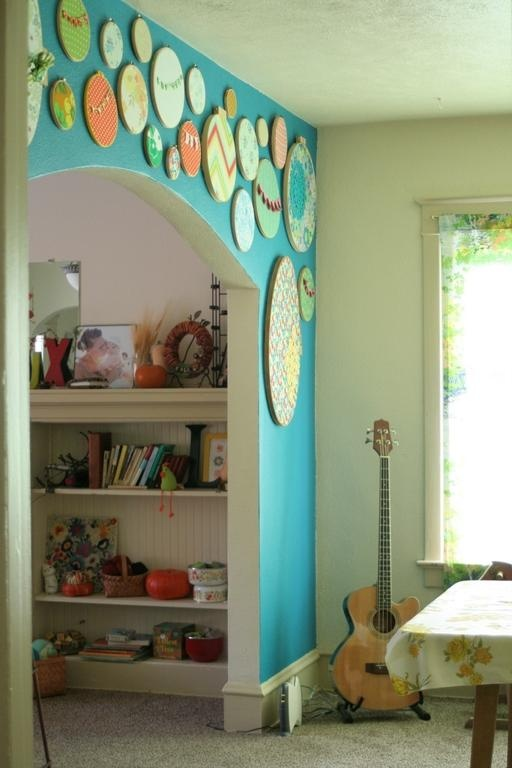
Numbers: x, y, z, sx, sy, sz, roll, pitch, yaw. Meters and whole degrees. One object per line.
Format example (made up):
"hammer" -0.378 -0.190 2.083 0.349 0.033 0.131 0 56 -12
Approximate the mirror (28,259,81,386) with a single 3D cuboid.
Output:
"mirror" -1.342 -0.393 4.273 0.407 0.839 0.157 -5 -8 28

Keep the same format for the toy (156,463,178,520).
"toy" -0.538 0.650 3.977 0.102 0.323 0.330 0 -8 -9

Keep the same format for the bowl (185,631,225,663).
"bowl" -0.297 1.531 3.807 0.231 0.161 0.180 -1 -8 -5

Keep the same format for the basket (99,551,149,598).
"basket" -0.796 1.147 3.959 0.271 0.270 0.203 2 -7 -3

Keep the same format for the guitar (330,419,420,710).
"guitar" 0.613 0.961 3.481 0.527 1.517 0.419 3 -8 -27

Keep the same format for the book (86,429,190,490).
"book" -0.681 0.499 4.038 0.586 0.281 0.207 -5 -8 21
